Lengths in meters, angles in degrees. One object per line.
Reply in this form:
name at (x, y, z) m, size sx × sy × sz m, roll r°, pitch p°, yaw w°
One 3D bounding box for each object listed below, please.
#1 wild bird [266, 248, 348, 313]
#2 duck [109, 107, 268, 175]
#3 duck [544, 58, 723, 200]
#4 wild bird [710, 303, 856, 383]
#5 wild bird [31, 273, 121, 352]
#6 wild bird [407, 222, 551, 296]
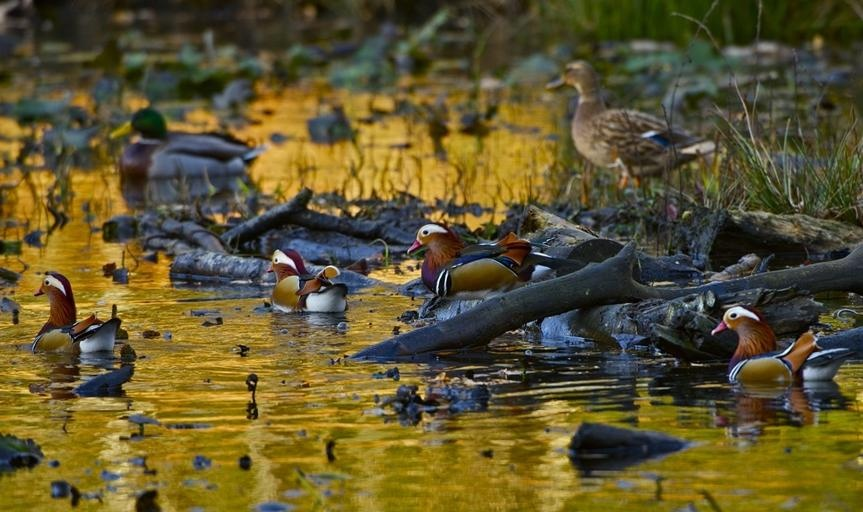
wild bird at (-1.090, 0.214, 9.768) m, size 0.683 × 0.564 × 0.328 m, roll 0°, pitch -4°, yaw -1°
duck at (-3.006, -1.423, 13.794) m, size 2.056 × 0.813 × 1.011 m, roll -6°, pitch 20°, yaw -35°
duck at (2.025, -1.346, 11.523) m, size 2.127 × 1.360 × 0.899 m, roll 2°, pitch 1°, yaw 10°
wild bird at (2.545, 0.640, 8.181) m, size 0.938 × 0.566 × 0.247 m, roll -1°, pitch -4°, yaw 11°
wild bird at (-2.797, 0.434, 8.716) m, size 0.754 × 0.634 × 0.354 m, roll 0°, pitch -4°, yaw -4°
wild bird at (0.541, 0.040, 9.469) m, size 1.421 × 0.694 × 0.486 m, roll -4°, pitch 5°, yaw 8°
